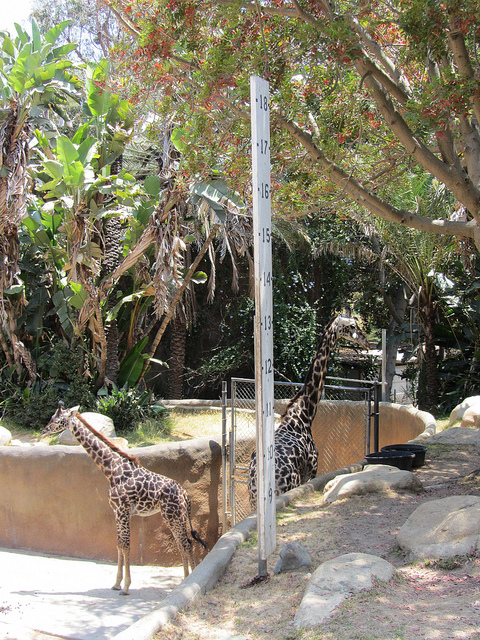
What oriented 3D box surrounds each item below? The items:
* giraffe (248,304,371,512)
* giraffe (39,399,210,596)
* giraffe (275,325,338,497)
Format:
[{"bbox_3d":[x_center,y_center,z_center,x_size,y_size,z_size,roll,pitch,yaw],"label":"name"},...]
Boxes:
[{"bbox_3d":[0.883,0.949,8.703,0.849,2.430,2.345,-5,0,24],"label":"giraffe"},{"bbox_3d":[-1.317,2.031,7.942,1.441,2.322,0.797,-5,1,-9],"label":"giraffe"},{"bbox_3d":[0.782,1.070,8.637,0.712,2.031,1.807,-5,0,18],"label":"giraffe"}]
